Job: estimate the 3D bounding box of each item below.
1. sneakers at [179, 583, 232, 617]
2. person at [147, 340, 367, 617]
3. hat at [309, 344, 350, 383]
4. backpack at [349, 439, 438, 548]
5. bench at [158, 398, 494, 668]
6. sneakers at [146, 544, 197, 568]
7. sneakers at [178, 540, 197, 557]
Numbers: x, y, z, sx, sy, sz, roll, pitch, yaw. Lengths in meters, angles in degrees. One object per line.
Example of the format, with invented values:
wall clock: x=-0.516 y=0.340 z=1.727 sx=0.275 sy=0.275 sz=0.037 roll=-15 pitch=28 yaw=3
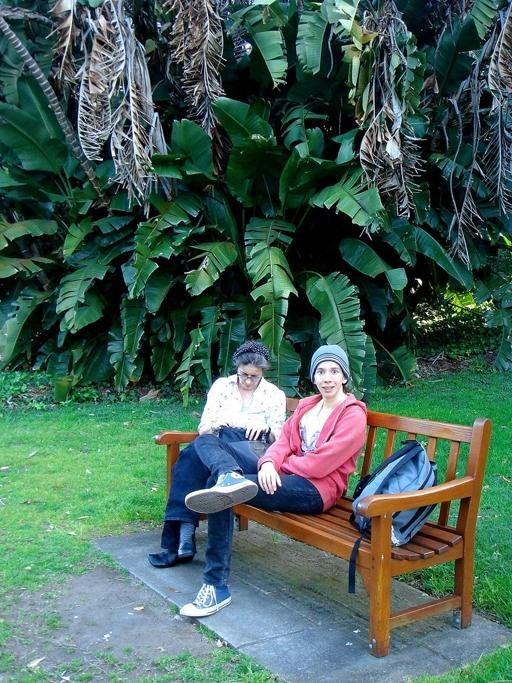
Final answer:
sneakers: x=-0.214 y=1.163 z=2.511 sx=0.258 sy=0.136 sz=0.092 roll=5 pitch=-9 yaw=-43
person: x=0.061 y=0.680 z=3.118 sx=1.390 sy=1.517 sz=0.959 roll=8 pitch=-4 yaw=-27
hat: x=0.390 y=0.109 z=2.953 sx=0.177 sy=0.174 sz=0.229 roll=1 pitch=-44 yaw=9
backpack: x=0.632 y=0.678 z=2.483 sx=0.312 sy=0.495 sz=0.444 roll=5 pitch=-8 yaw=14
bench: x=0.257 y=0.841 z=3.021 sx=0.723 sy=0.839 sz=1.843 roll=-1 pitch=-1 yaw=-31
sneakers: x=-0.498 y=1.223 z=3.077 sx=0.311 sy=0.120 sz=0.101 roll=12 pitch=7 yaw=-12
sneakers: x=-0.382 y=1.152 z=3.035 sx=0.123 sy=0.109 sz=0.059 roll=3 pitch=-12 yaw=-10
